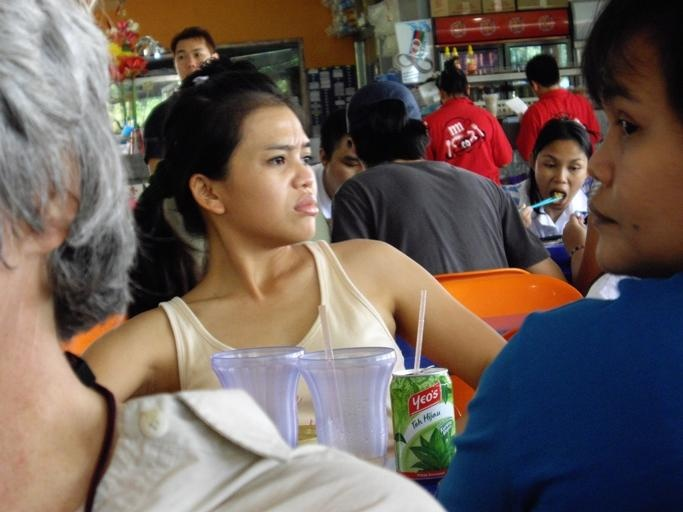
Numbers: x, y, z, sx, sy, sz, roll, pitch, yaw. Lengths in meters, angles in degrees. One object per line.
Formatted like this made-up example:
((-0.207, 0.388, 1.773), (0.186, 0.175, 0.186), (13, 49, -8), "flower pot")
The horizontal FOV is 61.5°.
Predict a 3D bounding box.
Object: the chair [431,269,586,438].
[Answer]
((0.495, 0.304, 1.898), (0.451, 0.561, 0.444), (7, -9, -32), "chair")

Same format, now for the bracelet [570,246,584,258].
((1.013, -0.024, 2.497), (0.053, 0.017, 0.055), (-28, 4, 0), "bracelet")

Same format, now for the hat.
((0.202, -0.708, 2.860), (0.281, 0.207, 0.403), (-3, 9, 5), "hat")
